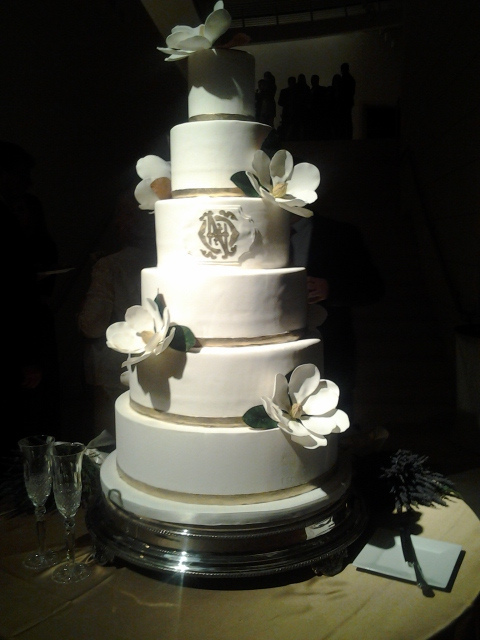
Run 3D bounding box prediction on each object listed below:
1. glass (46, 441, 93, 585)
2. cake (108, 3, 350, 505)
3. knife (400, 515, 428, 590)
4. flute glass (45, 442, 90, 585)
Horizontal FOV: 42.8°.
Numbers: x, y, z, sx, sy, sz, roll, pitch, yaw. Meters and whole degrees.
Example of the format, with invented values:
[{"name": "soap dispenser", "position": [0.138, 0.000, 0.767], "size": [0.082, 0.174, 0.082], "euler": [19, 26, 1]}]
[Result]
[{"name": "glass", "position": [-0.469, 0.502, 1.676], "size": [0.109, 0.352, 0.248], "euler": [-5, 10, -15]}, {"name": "cake", "position": [-0.057, -0.183, 1.666], "size": [0.632, 1.290, 0.512], "euler": [-3, 10, -7]}, {"name": "knife", "position": [0.472, 0.652, 1.704], "size": [0.036, 0.229, 0.014], "euler": [-15, 27, 19]}, {"name": "flute glass", "position": [-0.446, 0.512, 1.656], "size": [0.158, 0.341, 0.122], "euler": [-1, 11, -14]}]
